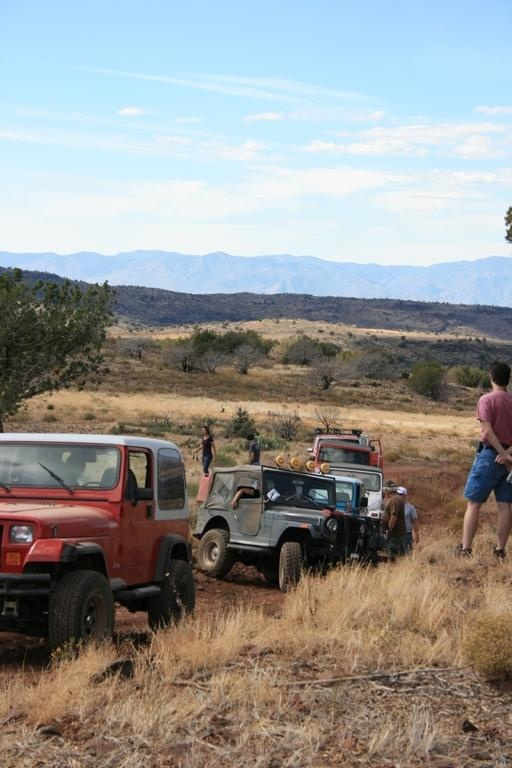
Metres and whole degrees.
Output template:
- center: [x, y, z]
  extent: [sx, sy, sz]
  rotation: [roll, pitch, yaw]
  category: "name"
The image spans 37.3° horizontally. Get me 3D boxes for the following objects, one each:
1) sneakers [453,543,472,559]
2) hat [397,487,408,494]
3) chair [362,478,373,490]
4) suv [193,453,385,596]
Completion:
- center: [2.284, 1.837, 8.360]
  extent: [0.101, 0.137, 0.314]
  rotation: [-3, -8, 7]
  category: "sneakers"
- center: [2.455, 1.793, 12.797]
  extent: [0.115, 0.100, 0.185]
  rotation: [3, 3, 11]
  category: "hat"
- center: [2.181, 1.923, 14.740]
  extent: [0.215, 0.396, 0.240]
  rotation: [-1, -7, 9]
  category: "chair"
- center: [0.179, 1.931, 10.667]
  extent: [1.438, 1.686, 2.601]
  rotation: [5, -9, -44]
  category: "suv"
